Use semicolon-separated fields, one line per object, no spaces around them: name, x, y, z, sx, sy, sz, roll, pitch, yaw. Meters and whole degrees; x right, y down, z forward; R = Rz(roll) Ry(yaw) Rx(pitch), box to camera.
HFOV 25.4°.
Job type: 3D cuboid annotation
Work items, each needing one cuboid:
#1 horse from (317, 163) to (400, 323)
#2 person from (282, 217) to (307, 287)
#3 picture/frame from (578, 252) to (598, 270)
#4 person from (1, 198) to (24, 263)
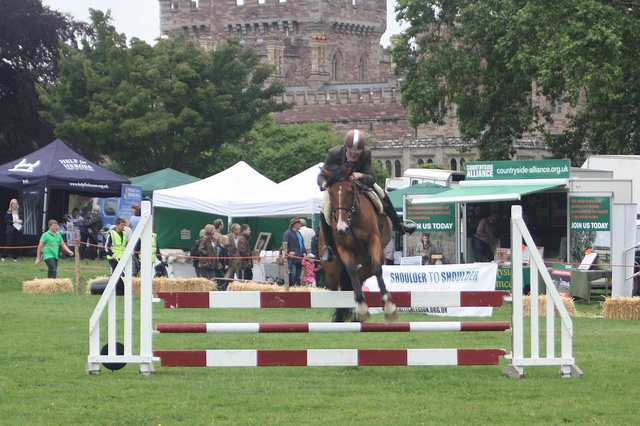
horse;1.467;1.310;49.146;2.474;4.845;7.506;-10;-7;7
person;-1.035;1.551;57.484;0.795;2.630;0.704;2;-2;8
picture/frame;10.659;1.902;56.418;0.157;0.677;0.678;31;-10;-30
person;-13.233;0.607;61.447;0.813;3.081;1.240;-2;-3;45
